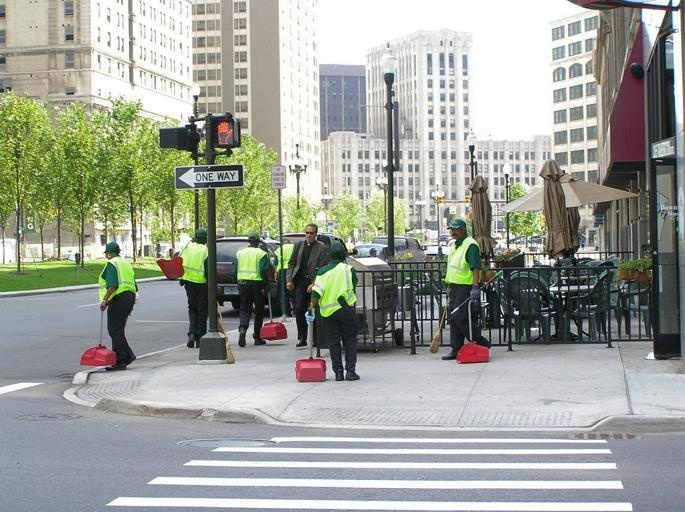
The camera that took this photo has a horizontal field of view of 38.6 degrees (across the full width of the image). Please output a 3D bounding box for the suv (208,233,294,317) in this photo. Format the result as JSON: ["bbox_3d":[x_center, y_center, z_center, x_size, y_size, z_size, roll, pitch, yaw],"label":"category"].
[{"bbox_3d":[-2.649,0.317,26.577,1.285,1.342,2.643,0,3,12],"label":"suv"}]

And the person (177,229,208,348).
[{"bbox_3d":[-3.038,0.651,20.033,0.549,2.456,1.233,-2,-1,-10],"label":"person"}]

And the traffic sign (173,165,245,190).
[{"bbox_3d":[-2.422,-1.476,18.005,1.327,0.491,0.499,-3,-1,25],"label":"traffic sign"}]

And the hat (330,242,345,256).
[{"bbox_3d":[-0.076,-0.126,15.904,0.179,0.243,0.239,1,5,5],"label":"hat"}]

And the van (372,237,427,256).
[{"bbox_3d":[2.980,-0.555,48.914,1.191,1.163,2.043,0,6,20],"label":"van"}]

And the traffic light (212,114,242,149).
[{"bbox_3d":[-2.129,-2.303,18.365,0.578,0.866,0.626,0,3,9],"label":"traffic light"}]

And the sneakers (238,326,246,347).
[{"bbox_3d":[-2.062,1.654,20.191,0.136,0.406,0.247,-2,-1,1],"label":"sneakers"}]

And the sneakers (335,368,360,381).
[{"bbox_3d":[0.081,1.881,15.822,0.310,0.141,0.180,1,1,-30],"label":"sneakers"}]

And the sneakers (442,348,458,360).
[{"bbox_3d":[1.955,1.748,17.492,0.337,0.231,0.123,2,3,8],"label":"sneakers"}]

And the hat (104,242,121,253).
[{"bbox_3d":[-4.099,-0.162,17.463,0.256,0.170,0.177,1,5,30],"label":"hat"}]

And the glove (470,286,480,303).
[{"bbox_3d":[2.302,0.653,16.907,0.087,0.279,0.189,1,-1,-2],"label":"glove"}]

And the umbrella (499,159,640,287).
[{"bbox_3d":[4.699,-0.735,20.285,2.258,1.790,2.392,-12,12,1],"label":"umbrella"}]

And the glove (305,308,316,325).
[{"bbox_3d":[-0.499,1.006,16.061,0.141,0.294,0.204,6,11,-24],"label":"glove"}]

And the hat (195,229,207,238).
[{"bbox_3d":[-2.924,-0.478,20.309,0.214,0.169,0.308,2,7,-8],"label":"hat"}]

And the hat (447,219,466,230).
[{"bbox_3d":[2.045,-0.586,17.343,0.278,0.148,0.200,11,-7,-31],"label":"hat"}]
